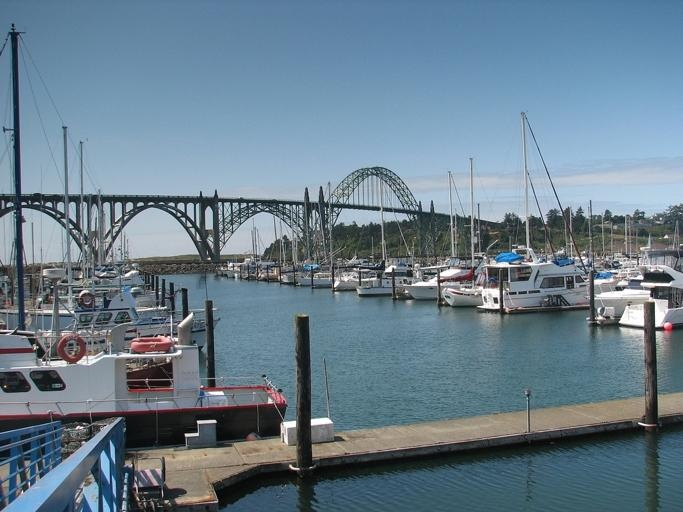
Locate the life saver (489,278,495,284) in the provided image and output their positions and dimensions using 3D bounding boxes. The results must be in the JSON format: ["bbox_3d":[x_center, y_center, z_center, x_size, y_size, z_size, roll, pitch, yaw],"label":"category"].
[{"bbox_3d":[12.794,2.166,60.570,0.352,0.379,0.649,-3,-1,3],"label":"life saver"}]

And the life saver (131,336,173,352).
[{"bbox_3d":[-6.929,3.225,25.874,0.795,0.331,0.826,-2,-1,10],"label":"life saver"}]
